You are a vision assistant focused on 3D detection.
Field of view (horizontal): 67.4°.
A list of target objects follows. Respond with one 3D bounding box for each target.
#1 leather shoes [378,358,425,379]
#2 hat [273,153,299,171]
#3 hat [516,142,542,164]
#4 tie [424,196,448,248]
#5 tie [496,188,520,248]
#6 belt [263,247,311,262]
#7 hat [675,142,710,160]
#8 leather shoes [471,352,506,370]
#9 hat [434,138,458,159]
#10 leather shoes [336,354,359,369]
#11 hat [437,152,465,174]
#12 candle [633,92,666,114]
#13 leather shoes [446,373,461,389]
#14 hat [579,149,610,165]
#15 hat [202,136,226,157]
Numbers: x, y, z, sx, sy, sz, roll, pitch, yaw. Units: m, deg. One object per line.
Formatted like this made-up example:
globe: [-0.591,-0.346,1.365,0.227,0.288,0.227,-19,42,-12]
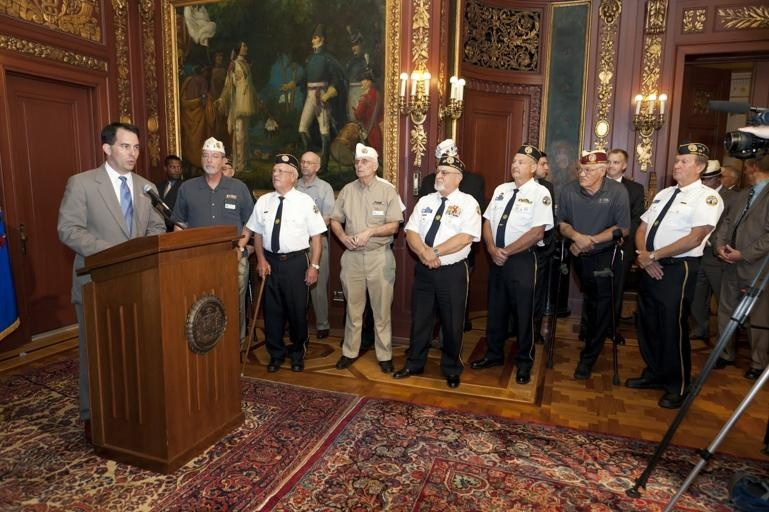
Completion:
leather shoes: [0.191,1.139,5.787,0.468,0.210,0.159,11,-3,-29]
hat: [-0.983,-0.955,5.828,0.178,0.149,0.381,-1,14,-2]
hat: [1.414,-0.957,5.621,0.189,0.113,0.251,20,-1,27]
tie: [0.487,-0.275,5.550,0.113,0.613,0.075,22,6,20]
tie: [1.198,-0.370,5.641,0.216,0.545,0.091,-7,15,-25]
belt: [-0.985,-0.001,5.757,0.432,0.156,0.183,-4,14,-12]
hat: [2.743,-0.927,5.133,0.249,0.133,0.170,5,15,21]
leather shoes: [1.058,1.085,5.998,0.380,0.175,0.142,0,5,-17]
hat: [0.635,-1.121,6.028,0.214,0.233,0.303,-10,7,0]
leather shoes: [-0.405,1.091,5.933,0.086,0.103,0.239,3,0,25]
hat: [0.642,-0.894,5.592,0.223,0.169,0.372,2,14,10]
candle: [3.345,-1.918,7.260,0.276,0.263,0.088,3,1,17]
leather shoes: [0.654,1.195,5.530,0.107,0.105,0.247,-1,-4,9]
hat: [1.996,-0.926,5.531,0.185,0.105,0.184,-1,8,-6]
hat: [-1.735,-1.138,5.926,0.252,0.133,0.353,5,-11,-7]
